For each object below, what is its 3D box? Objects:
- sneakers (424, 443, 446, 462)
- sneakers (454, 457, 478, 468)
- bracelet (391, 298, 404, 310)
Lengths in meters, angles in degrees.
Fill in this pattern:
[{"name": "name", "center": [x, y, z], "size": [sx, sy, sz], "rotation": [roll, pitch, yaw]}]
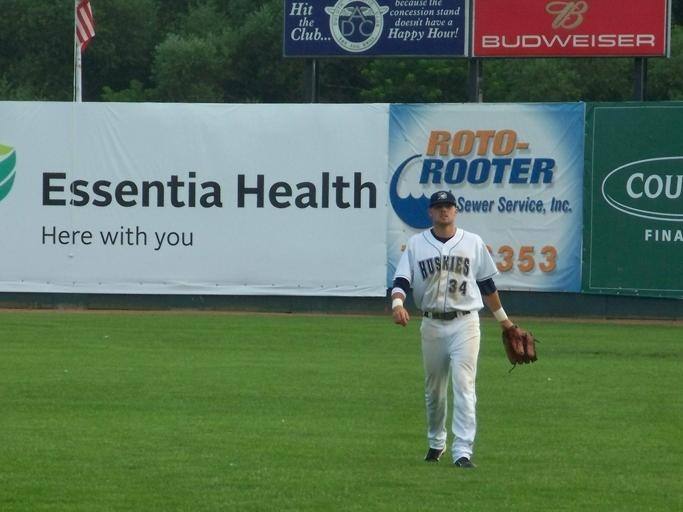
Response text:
[{"name": "sneakers", "center": [1.587, 3.412, 29.865], "size": [0.155, 0.199, 0.438], "rotation": [4, 6, 13]}, {"name": "sneakers", "center": [2.077, 3.530, 29.596], "size": [0.312, 0.148, 0.166], "rotation": [-2, -3, 3]}, {"name": "bracelet", "center": [0.949, 0.830, 29.501], "size": [0.165, 0.134, 0.166], "rotation": [2, -8, -12]}]
